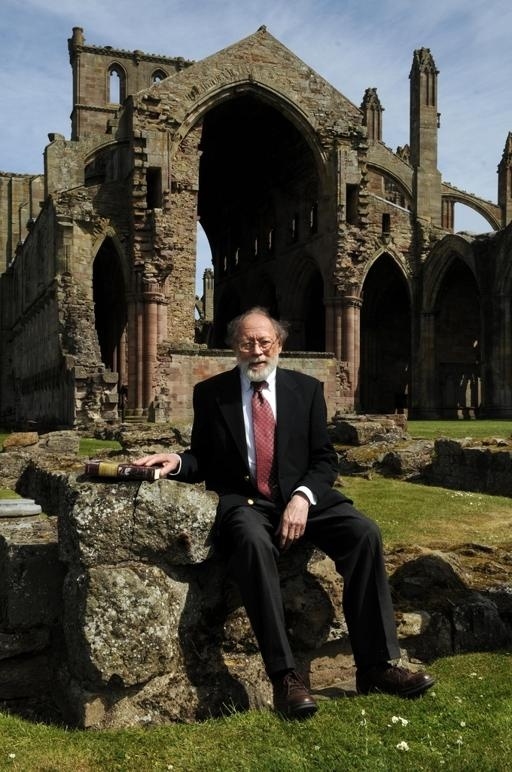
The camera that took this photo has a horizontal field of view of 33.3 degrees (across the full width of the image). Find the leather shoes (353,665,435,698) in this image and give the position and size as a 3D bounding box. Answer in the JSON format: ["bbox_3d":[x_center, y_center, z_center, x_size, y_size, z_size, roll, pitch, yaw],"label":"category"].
[{"bbox_3d":[0.660,1.405,4.117,0.346,0.153,0.136,-6,-3,17],"label":"leather shoes"}]

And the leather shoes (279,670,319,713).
[{"bbox_3d":[0.180,1.399,3.861,0.134,0.170,0.192,-1,2,-45],"label":"leather shoes"}]
